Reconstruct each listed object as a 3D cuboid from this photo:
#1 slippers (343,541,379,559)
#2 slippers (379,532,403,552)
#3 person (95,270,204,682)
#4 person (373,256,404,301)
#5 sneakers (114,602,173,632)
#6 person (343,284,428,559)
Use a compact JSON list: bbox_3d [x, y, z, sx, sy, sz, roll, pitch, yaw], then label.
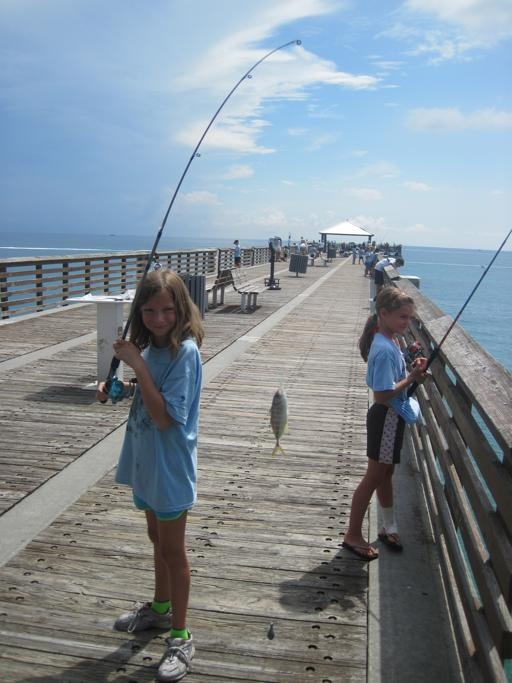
[{"bbox_3d":[0.630,1.215,2.981,0.158,0.056,0.091,13,16,29],"label":"slippers"},{"bbox_3d":[0.831,1.227,3.149,0.069,0.059,0.173,-27,4,0],"label":"slippers"},{"bbox_3d":[-0.411,0.526,2.038,0.410,1.600,0.456,-1,8,-18],"label":"person"},{"bbox_3d":[3.923,-1.932,15.128,0.752,1.288,0.518,9,27,13],"label":"person"},{"bbox_3d":[-0.505,1.234,2.259,0.197,0.089,0.138,5,-13,-2],"label":"sneakers"},{"bbox_3d":[0.717,0.494,2.878,0.378,1.586,0.536,3,7,10],"label":"person"}]
